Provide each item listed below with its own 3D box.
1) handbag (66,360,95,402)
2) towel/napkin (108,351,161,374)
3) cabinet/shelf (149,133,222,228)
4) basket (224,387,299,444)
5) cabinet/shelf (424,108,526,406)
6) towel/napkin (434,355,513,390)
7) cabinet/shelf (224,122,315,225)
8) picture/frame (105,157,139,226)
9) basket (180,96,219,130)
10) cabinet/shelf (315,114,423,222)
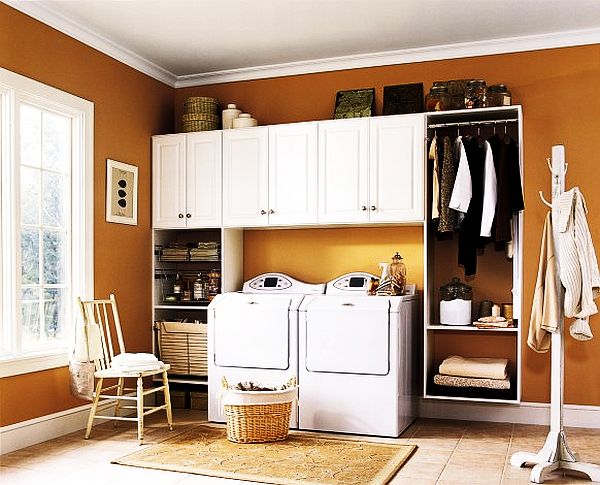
[{"bbox_3d":[-1.691,1.054,4.145,0.181,0.307,0.203,-1,0,-24],"label":"handbag"},{"bbox_3d":[-1.258,0.924,4.115,0.392,0.135,0.235,-1,0,-14],"label":"towel/napkin"},{"bbox_3d":[-1.033,-0.586,5.258,0.710,0.885,0.508,-1,-3,6],"label":"cabinet/shelf"},{"bbox_3d":[-0.288,1.261,3.921,0.459,0.272,0.385,-1,-5,-2],"label":"basket"},{"bbox_3d":[1.445,0.093,4.430,0.772,2.427,0.596,-1,0,23],"label":"cabinet/shelf"},{"bbox_3d":[1.407,1.069,4.361,0.573,0.249,0.369,-1,0,19],"label":"towel/napkin"},{"bbox_3d":[-0.239,-0.592,4.783,0.956,0.877,0.368,-1,-2,17],"label":"cabinet/shelf"},{"bbox_3d":[-1.595,-0.441,4.798,0.060,0.579,0.412,-1,0,18],"label":"picture/frame"},{"bbox_3d":[-0.954,-1.205,5.164,0.357,0.299,0.351,0,0,1],"label":"basket"},{"bbox_3d":[0.620,-0.615,4.506,0.960,0.890,0.371,1,1,18],"label":"cabinet/shelf"}]
